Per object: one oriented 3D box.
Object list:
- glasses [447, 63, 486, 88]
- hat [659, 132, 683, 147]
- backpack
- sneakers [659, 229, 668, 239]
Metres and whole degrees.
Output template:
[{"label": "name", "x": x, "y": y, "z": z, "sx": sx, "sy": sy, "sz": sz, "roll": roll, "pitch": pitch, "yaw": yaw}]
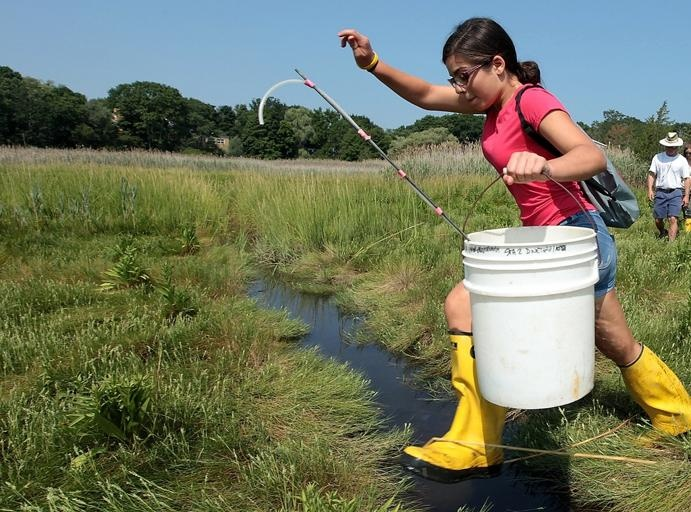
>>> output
[{"label": "glasses", "x": 0.753, "y": -1.164, "z": 3.936, "sx": 0.143, "sy": 0.123, "sz": 0.306, "roll": -9, "pitch": 10, "yaw": -29}, {"label": "hat", "x": 5.759, "y": -2.004, "z": 10.666, "sx": 0.354, "sy": 0.122, "sz": 0.395, "roll": 13, "pitch": 37, "yaw": 33}, {"label": "backpack", "x": 1.626, "y": -0.518, "z": 4.089, "sx": 0.471, "sy": 0.817, "sz": 0.266, "roll": -23, "pitch": -14, "yaw": 35}, {"label": "sneakers", "x": 5.245, "y": -0.371, "z": 10.001, "sx": 0.117, "sy": 0.157, "sz": 0.385, "roll": 0, "pitch": 14, "yaw": 24}]
